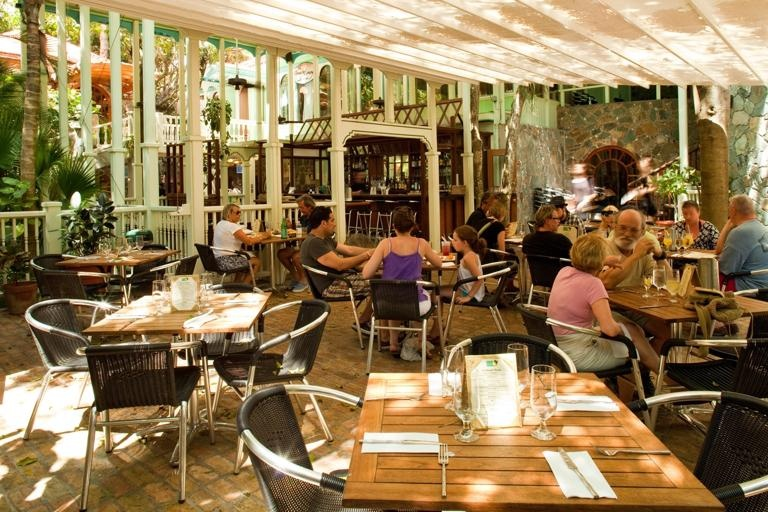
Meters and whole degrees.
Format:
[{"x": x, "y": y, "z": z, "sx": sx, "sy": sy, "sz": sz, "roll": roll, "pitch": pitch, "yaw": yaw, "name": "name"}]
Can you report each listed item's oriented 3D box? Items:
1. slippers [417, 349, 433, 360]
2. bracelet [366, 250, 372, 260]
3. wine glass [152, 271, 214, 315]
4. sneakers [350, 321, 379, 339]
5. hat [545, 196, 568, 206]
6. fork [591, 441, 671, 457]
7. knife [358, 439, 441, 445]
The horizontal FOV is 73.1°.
[{"x": 0.499, "y": 1.124, "z": 5.965, "sx": 0.191, "sy": 0.077, "sz": 0.168, "roll": 1, "pitch": -9, "yaw": -12, "name": "slippers"}, {"x": -0.176, "y": -0.022, "z": 6.709, "sx": 0.038, "sy": 0.083, "sz": 0.068, "roll": 12, "pitch": -19, "yaw": 16, "name": "bracelet"}, {"x": -1.761, "y": 0.320, "z": 4.464, "sx": 0.432, "sy": 0.231, "sz": 0.376, "roll": 0, "pitch": -1, "yaw": -11, "name": "wine glass"}, {"x": -0.271, "y": 0.970, "z": 6.841, "sx": 0.205, "sy": 0.201, "sz": 0.538, "roll": 1, "pitch": 2, "yaw": -4, "name": "sneakers"}, {"x": 2.939, "y": -0.910, "z": 8.828, "sx": 0.401, "sy": 0.144, "sz": 0.433, "roll": 1, "pitch": 5, "yaw": 20, "name": "hat"}, {"x": 1.133, "y": 0.898, "z": 2.408, "sx": 0.303, "sy": 0.029, "sz": 0.043, "roll": -1, "pitch": 9, "yaw": 4, "name": "fork"}, {"x": 0.082, "y": 0.881, "z": 2.449, "sx": 0.363, "sy": 0.013, "sz": 0.032, "roll": 0, "pitch": 12, "yaw": 4, "name": "knife"}]
